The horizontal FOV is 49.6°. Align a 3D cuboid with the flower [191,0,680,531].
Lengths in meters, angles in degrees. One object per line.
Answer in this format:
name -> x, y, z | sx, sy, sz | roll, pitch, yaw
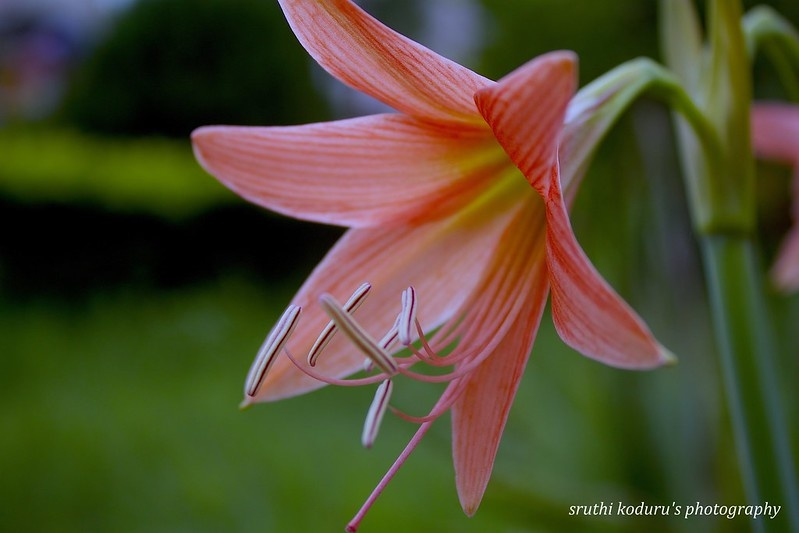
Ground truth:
flower -> 0.031, -0.013, 1.465 | 0.712, 0.849, 0.493 | -8, 23, -5
